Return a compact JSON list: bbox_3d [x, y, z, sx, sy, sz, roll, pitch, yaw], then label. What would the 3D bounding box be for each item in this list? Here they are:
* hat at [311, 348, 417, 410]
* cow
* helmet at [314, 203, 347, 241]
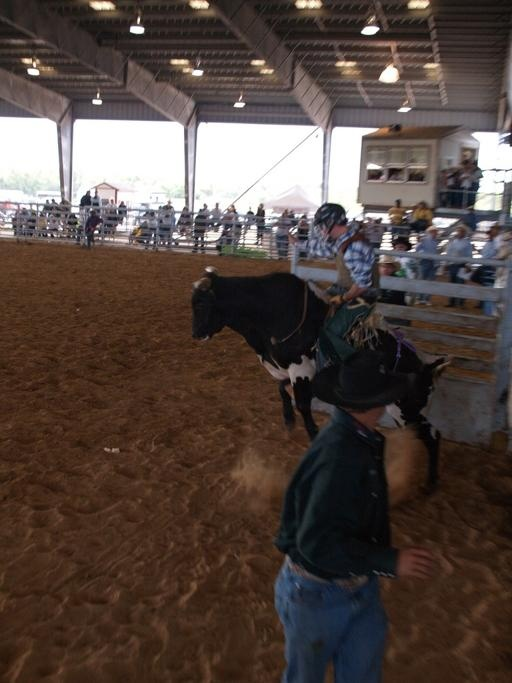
[{"bbox_3d":[0.319,0.090,1.441,0.289,0.106,0.314,-9,20,18],"label":"hat"},{"bbox_3d":[0.491,0.198,3.785,1.989,1.319,0.509,9,27,7],"label":"cow"},{"bbox_3d":[0.461,-0.803,3.245,0.202,0.248,0.235,-5,5,0],"label":"helmet"}]
